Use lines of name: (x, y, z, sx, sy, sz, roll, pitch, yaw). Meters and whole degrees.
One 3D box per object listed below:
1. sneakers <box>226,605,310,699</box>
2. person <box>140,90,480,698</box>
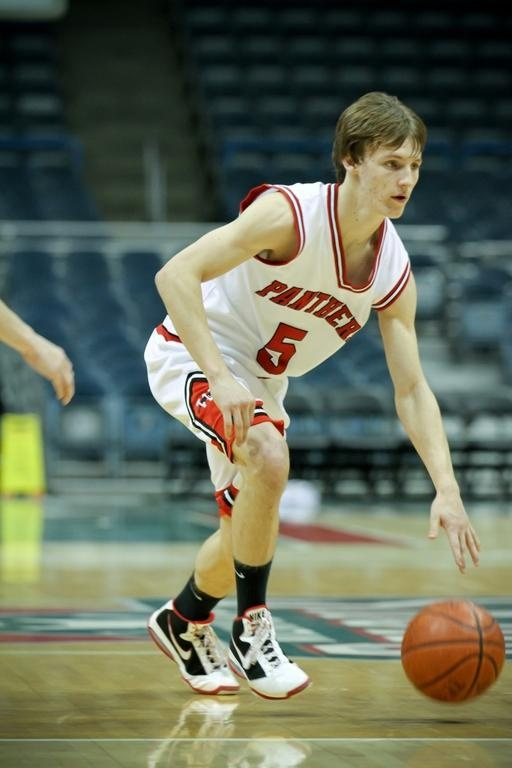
sneakers: (0.004, 0.460, 1.500, 0.088, 0.121, 0.220, -11, 19, -28)
person: (0.080, -0.009, 1.582, 0.561, 1.050, 0.523, -6, 9, -6)
